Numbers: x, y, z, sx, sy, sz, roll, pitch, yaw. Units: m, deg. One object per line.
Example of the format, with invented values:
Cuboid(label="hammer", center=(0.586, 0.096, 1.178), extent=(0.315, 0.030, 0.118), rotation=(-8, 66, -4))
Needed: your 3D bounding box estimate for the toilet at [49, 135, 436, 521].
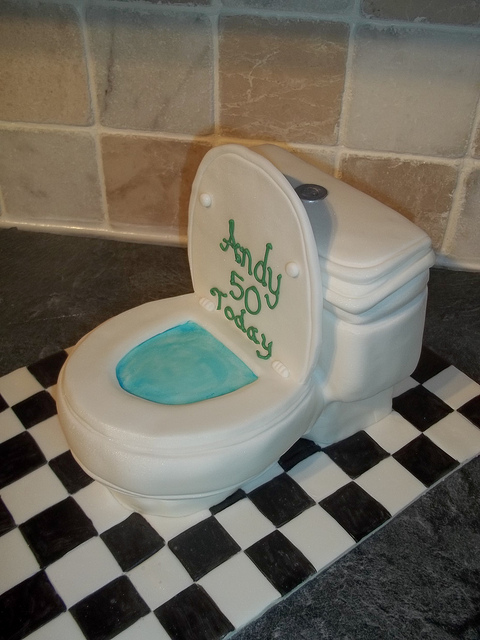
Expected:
Cuboid(label="toilet", center=(0.001, 0.003, 0.932), extent=(0.409, 0.499, 0.608), rotation=(30, 45, 33))
